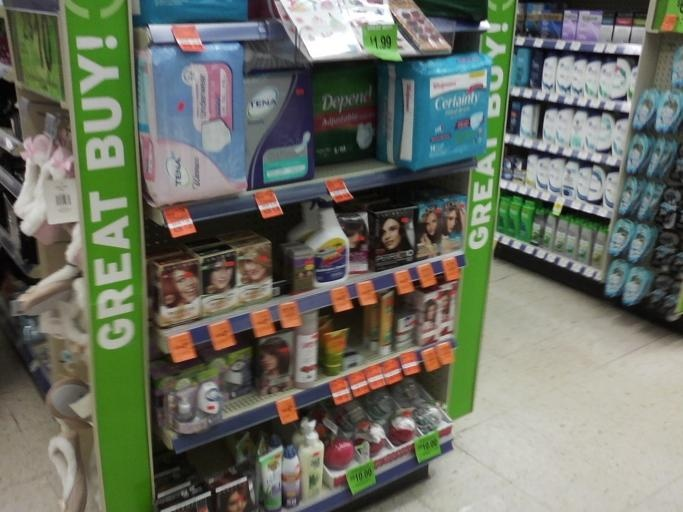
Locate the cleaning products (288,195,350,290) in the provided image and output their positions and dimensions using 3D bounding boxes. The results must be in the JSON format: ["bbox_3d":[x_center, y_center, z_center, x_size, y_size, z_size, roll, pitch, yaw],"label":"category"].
[{"bbox_3d":[-0.092,-0.017,2.343,0.200,0.464,0.193,-17,27,-36],"label":"cleaning products"}]

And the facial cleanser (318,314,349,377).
[{"bbox_3d":[-0.034,0.423,2.557,0.097,0.307,0.115,-12,27,-27],"label":"facial cleanser"}]

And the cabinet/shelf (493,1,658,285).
[{"bbox_3d":[2.034,-0.949,4.756,0.501,2.698,1.152,-14,24,-28],"label":"cabinet/shelf"}]

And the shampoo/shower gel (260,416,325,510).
[{"bbox_3d":[-0.215,0.952,2.442,0.153,0.476,0.379,14,19,43],"label":"shampoo/shower gel"}]
